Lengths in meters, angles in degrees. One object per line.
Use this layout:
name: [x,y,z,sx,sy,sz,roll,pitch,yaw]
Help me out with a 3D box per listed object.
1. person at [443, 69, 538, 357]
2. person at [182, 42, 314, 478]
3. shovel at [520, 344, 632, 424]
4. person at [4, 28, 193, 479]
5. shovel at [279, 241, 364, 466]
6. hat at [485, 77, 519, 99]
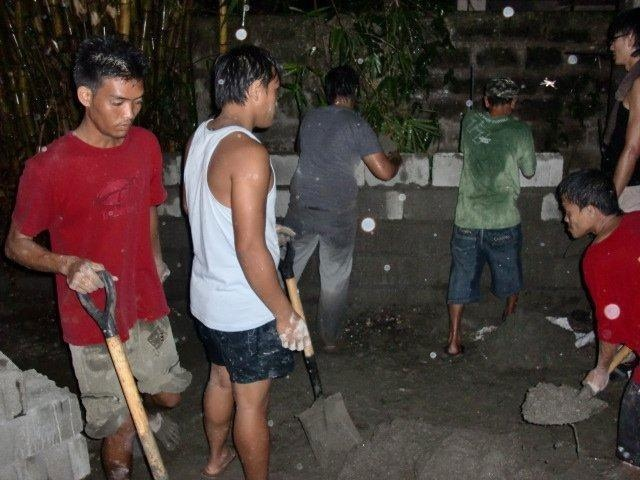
person: [1.360,-0.089,5.176,0.807,1.893,0.456,-6,14,-19]
person: [-0.433,0.168,3.570,0.714,2.481,0.469,-1,13,5]
shovel: [1.618,0.979,3.915,0.648,0.460,0.158,-35,-17,17]
person: [-1.281,0.190,3.660,0.948,2.662,0.625,-10,16,-30]
shovel: [-0.057,0.741,4.228,0.281,1.587,0.162,-8,-21,-20]
hat: [1.491,-1.233,5.052,0.238,0.158,0.128,2,15,15]
